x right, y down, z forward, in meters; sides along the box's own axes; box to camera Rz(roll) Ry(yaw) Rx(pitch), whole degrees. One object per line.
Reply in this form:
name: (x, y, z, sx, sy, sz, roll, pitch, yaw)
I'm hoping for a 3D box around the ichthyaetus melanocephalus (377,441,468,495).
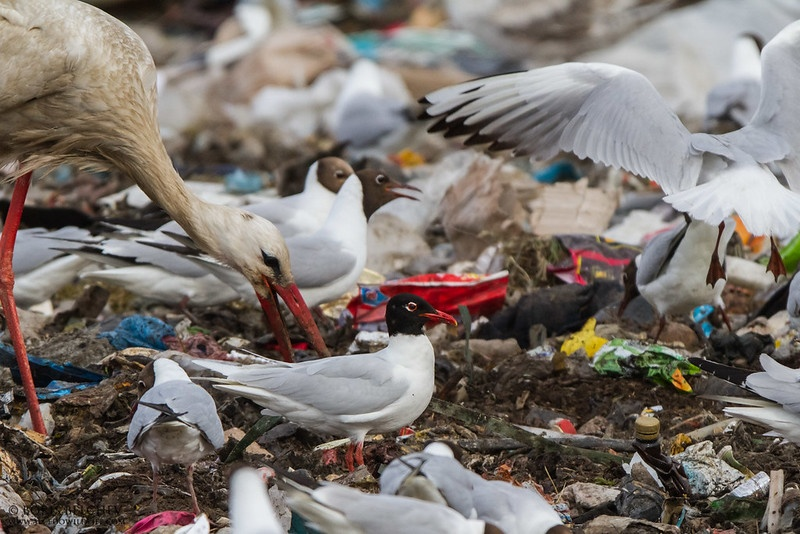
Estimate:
ichthyaetus melanocephalus: (0.120, 1.077, 5.595, 0.453, 0.178, 0.242, -28, 38, -29)
